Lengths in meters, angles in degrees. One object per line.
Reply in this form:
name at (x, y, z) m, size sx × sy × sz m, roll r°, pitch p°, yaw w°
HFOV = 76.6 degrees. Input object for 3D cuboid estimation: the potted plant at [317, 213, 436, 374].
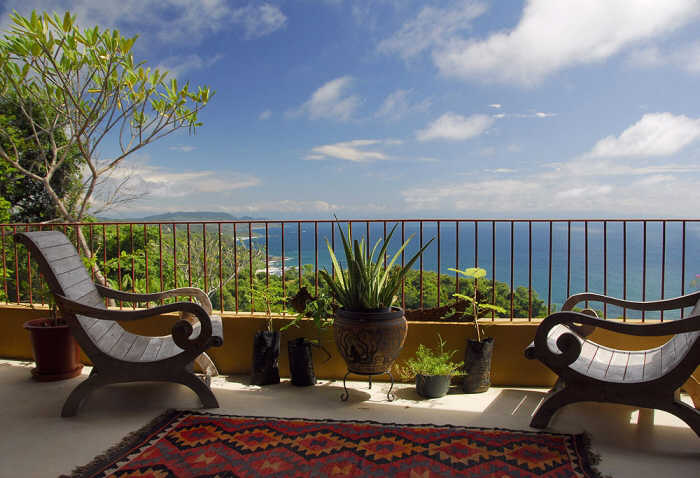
potted plant at (0.196, 0.668, 4.281) m, size 0.763 × 1.546 × 0.763 m, roll 10°, pitch 17°, yaw 33°

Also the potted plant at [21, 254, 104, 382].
potted plant at (-3.073, 0.900, 4.599) m, size 0.843 × 0.994 × 0.929 m, roll -2°, pitch 4°, yaw -22°

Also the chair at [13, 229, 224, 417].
chair at (-2.000, 0.724, 4.114) m, size 1.647 × 1.347 × 1.196 m, roll 5°, pitch 0°, yaw -22°
